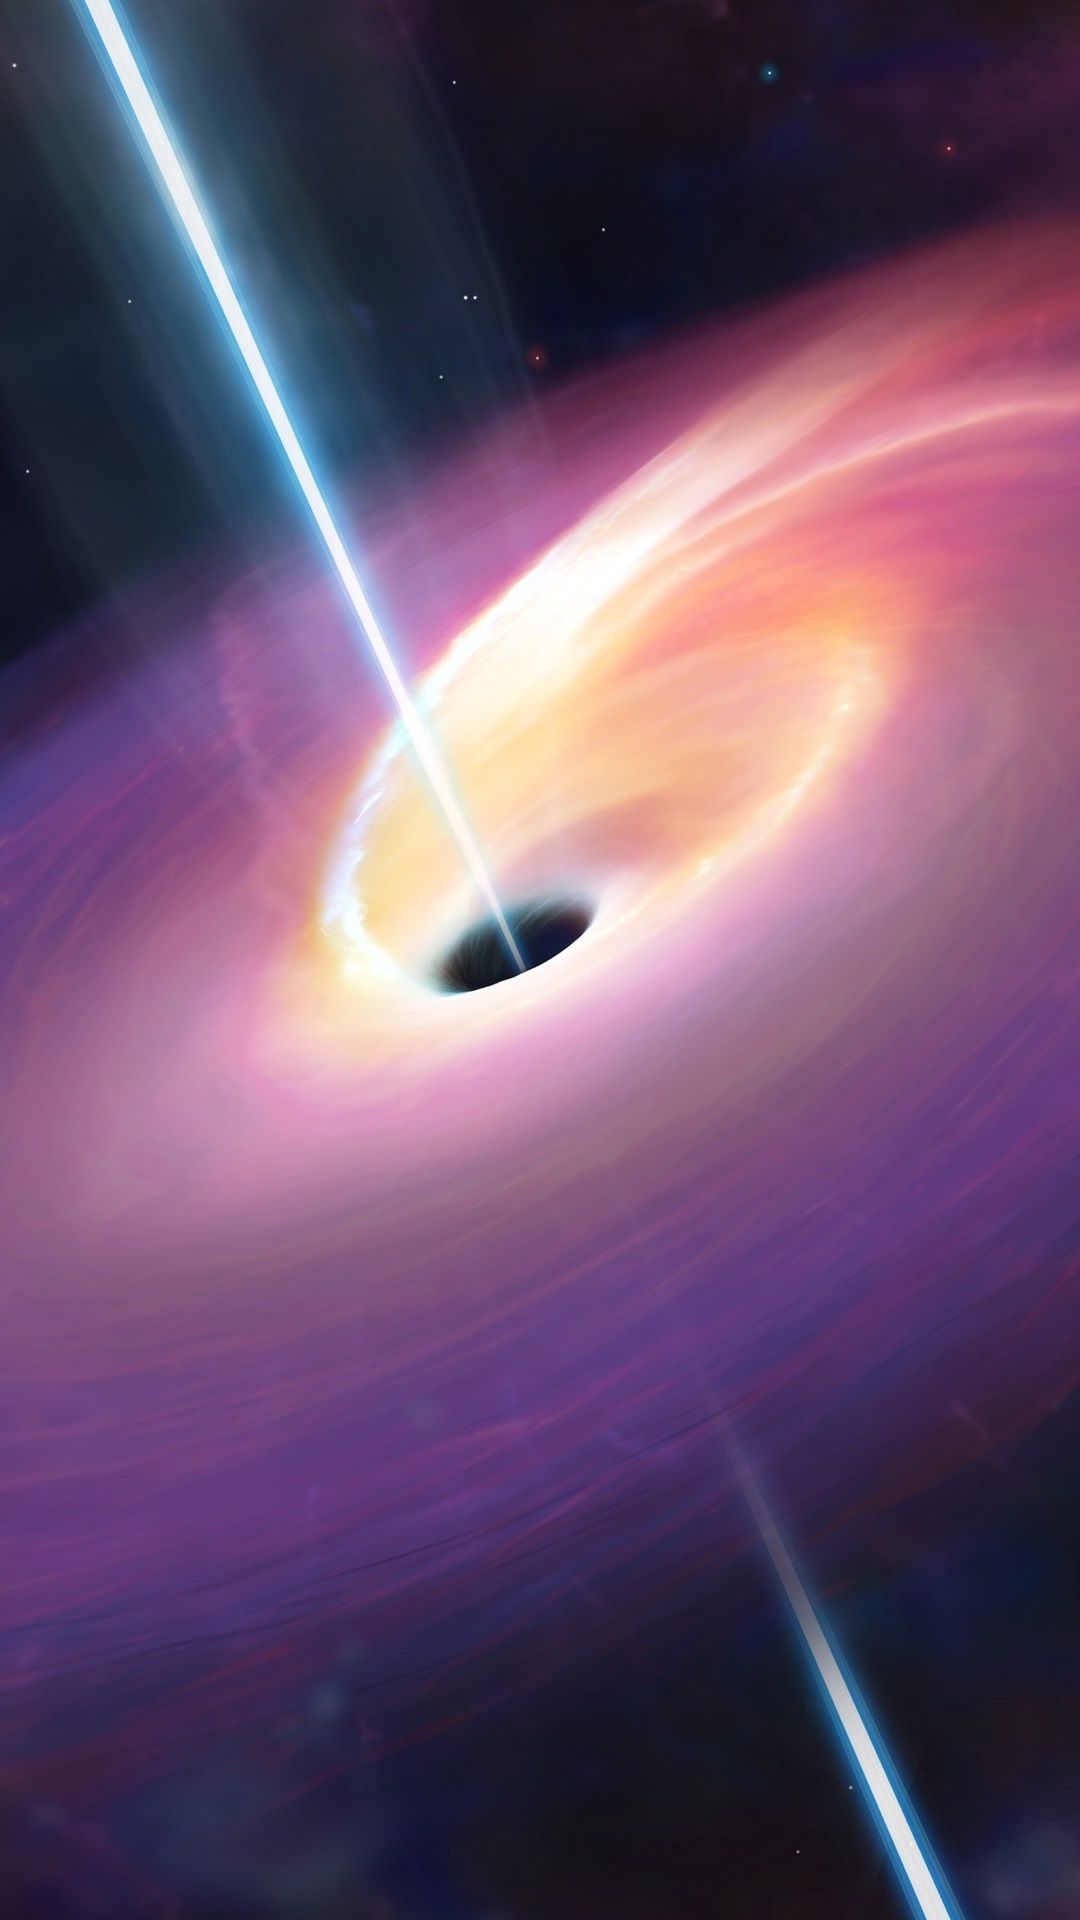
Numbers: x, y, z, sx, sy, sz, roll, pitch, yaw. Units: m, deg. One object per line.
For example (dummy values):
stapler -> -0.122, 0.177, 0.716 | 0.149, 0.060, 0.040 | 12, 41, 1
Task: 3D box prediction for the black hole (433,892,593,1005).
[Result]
black hole -> -0.011, -0.016, 0.924 | 0.111, 0.050, 0.070 | -20, -4, 19
